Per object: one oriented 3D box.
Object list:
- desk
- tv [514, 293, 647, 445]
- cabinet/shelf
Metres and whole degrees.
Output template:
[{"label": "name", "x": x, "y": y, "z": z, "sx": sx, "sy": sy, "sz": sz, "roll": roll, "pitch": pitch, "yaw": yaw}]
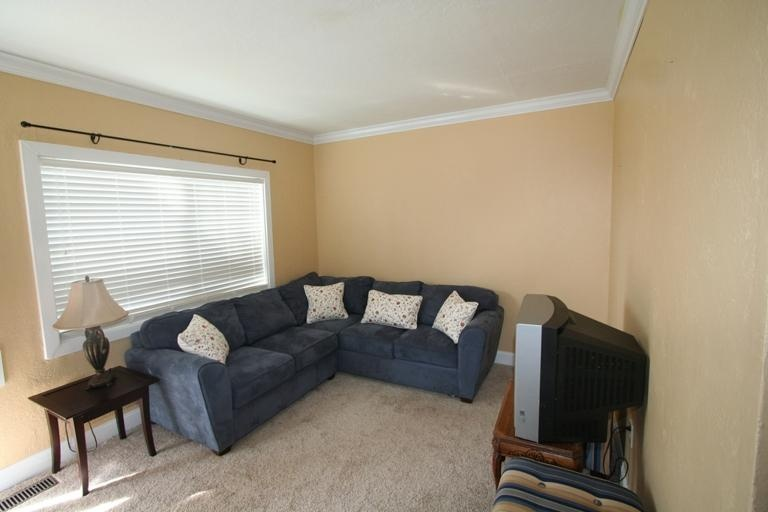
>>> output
[{"label": "desk", "x": -2.312, "y": 1.398, "z": 4.284, "sx": 0.874, "sy": 0.690, "sz": 0.807, "roll": -8, "pitch": 13, "yaw": -29}, {"label": "tv", "x": 1.266, "y": 0.888, "z": 3.760, "sx": 1.084, "sy": 0.797, "sz": 1.022, "roll": 5, "pitch": 2, "yaw": 21}, {"label": "cabinet/shelf", "x": 1.057, "y": 1.220, "z": 3.620, "sx": 0.534, "sy": 0.398, "sz": 0.759, "roll": 5, "pitch": 21, "yaw": 24}]
